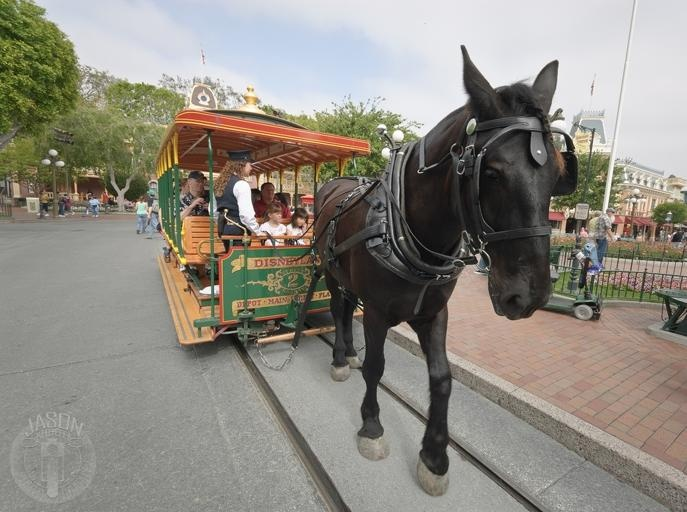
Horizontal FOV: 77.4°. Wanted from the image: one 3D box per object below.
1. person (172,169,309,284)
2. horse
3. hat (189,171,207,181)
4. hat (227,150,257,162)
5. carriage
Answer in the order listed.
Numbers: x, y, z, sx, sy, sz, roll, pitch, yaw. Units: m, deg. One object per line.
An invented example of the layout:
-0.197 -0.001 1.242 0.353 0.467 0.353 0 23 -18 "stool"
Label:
-1.634 -0.419 6.496 1.409 2.366 0.836 20 26 27 "person"
0.685 0.205 4.040 0.864 3.889 2.421 -8 13 -40 "horse"
-2.552 -1.413 7.517 0.262 0.142 0.190 -15 21 -34 "hat"
-1.527 -1.418 6.118 0.387 0.165 0.357 4 14 20 "hat"
0.373 0.224 5.136 1.389 3.841 4.755 0 8 -22 "carriage"
